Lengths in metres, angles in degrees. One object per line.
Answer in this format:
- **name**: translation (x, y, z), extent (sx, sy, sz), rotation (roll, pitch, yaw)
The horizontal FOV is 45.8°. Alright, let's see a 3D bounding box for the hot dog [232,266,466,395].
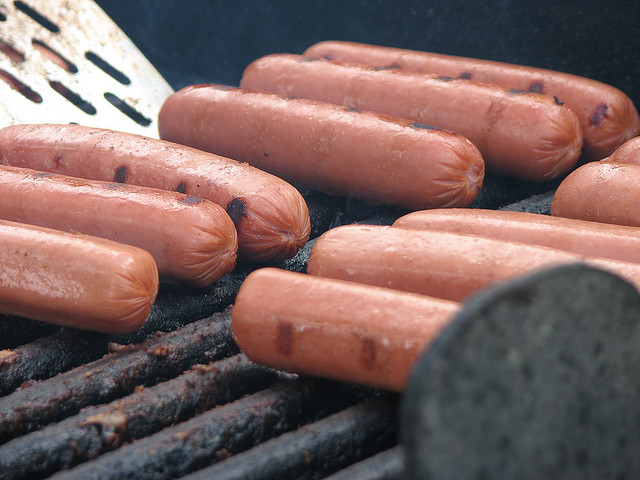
- **hot dog**: translation (0.046, 0.206, 1.858), extent (0.574, 0.214, 0.240), rotation (11, 25, 15)

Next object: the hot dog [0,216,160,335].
- **hot dog**: translation (-0.600, 0.081, 1.907), extent (0.444, 0.167, 0.194), rotation (15, 24, 15)

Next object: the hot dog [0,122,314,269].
- **hot dog**: translation (-0.465, -0.119, 2.141), extent (0.722, 0.211, 0.189), rotation (17, 44, 13)
